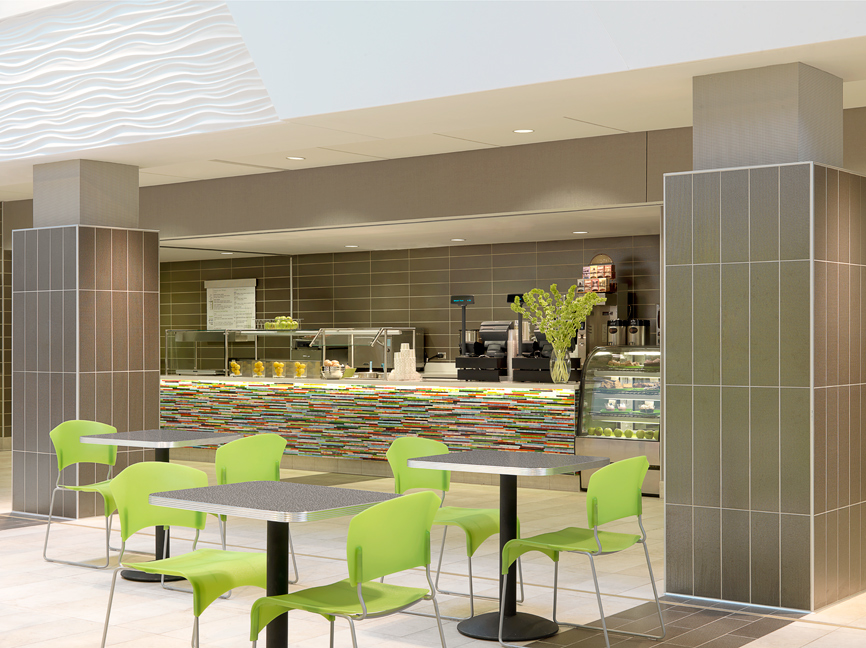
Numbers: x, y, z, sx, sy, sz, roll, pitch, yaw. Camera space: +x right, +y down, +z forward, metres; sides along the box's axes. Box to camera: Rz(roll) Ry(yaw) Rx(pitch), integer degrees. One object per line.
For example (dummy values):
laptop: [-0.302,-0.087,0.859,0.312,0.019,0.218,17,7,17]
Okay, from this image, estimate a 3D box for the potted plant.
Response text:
potted plant: [1.360,0.109,7.548,0.790,1.110,0.765,0,-5,-4]
